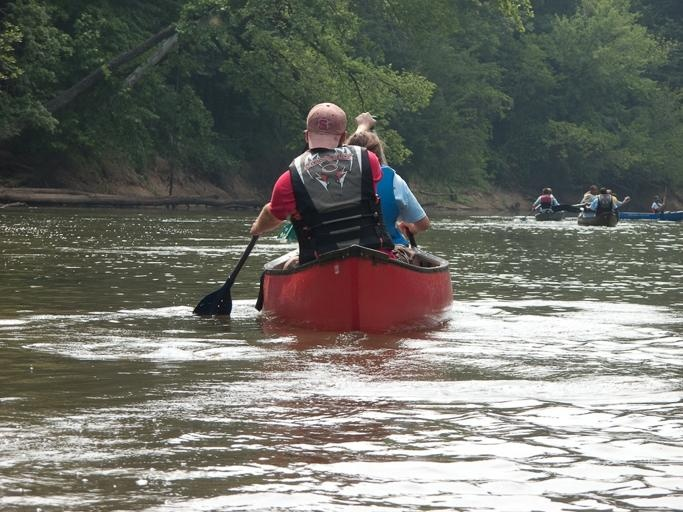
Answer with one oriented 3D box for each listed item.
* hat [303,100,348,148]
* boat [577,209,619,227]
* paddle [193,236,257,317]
[{"bbox_3d":[-0.220,-1.734,16.941,0.532,0.604,0.297,1,6,-1],"label":"hat"},{"bbox_3d":[8.823,-1.268,43.005,1.017,0.563,1.472,0,5,-9],"label":"boat"},{"bbox_3d":[-1.563,0.248,18.729,0.529,0.095,2.147,10,42,17],"label":"paddle"}]
